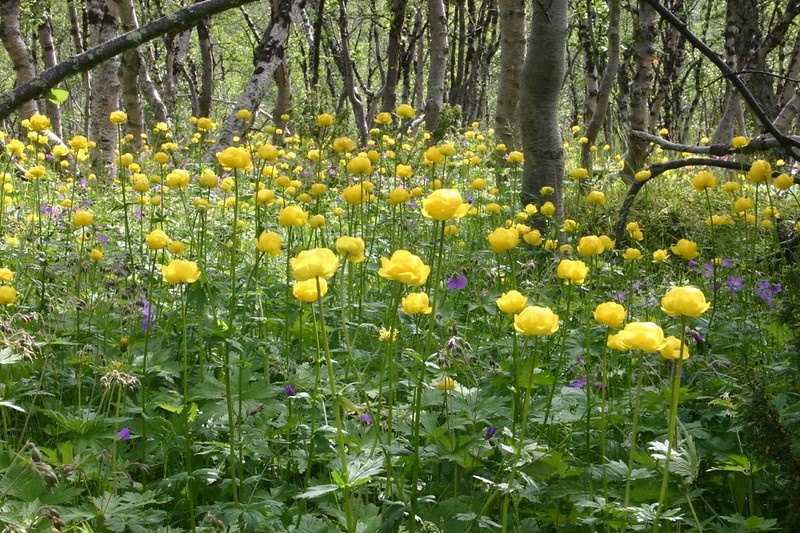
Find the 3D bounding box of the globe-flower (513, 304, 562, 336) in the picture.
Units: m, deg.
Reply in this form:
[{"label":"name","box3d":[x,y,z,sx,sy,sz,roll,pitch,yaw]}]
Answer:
[{"label":"globe-flower","box3d":[0.652,0.247,3.727,0.162,0.116,0.154,0,-1,-13]}]

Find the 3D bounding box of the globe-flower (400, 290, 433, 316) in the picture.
[{"label":"globe-flower","box3d":[0.074,0.182,3.987,0.135,0.117,0.175,0,10,-3]}]

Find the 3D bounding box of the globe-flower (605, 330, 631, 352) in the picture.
[{"label":"globe-flower","box3d":[1.058,0.367,3.778,0.123,0.098,0.136,4,1,21]}]

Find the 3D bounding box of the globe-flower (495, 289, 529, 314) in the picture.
[{"label":"globe-flower","box3d":[0.569,0.170,3.883,0.154,0.132,0.149,-2,0,-11]}]

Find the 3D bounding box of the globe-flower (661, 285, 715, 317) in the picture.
[{"label":"globe-flower","box3d":[1.341,0.157,3.645,0.169,0.151,0.168,0,4,-31]}]

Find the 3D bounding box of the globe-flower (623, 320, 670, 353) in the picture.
[{"label":"globe-flower","box3d":[1.156,0.316,3.674,0.154,0.107,0.153,2,6,-30]}]
